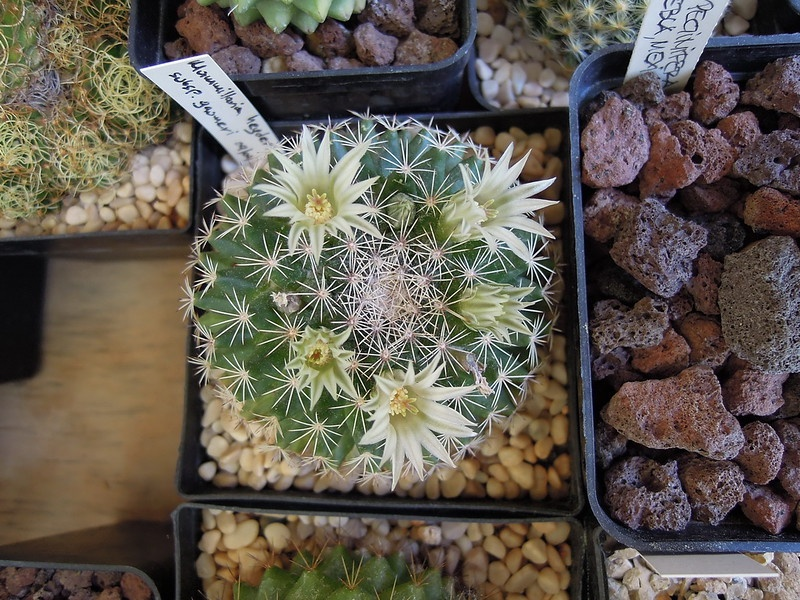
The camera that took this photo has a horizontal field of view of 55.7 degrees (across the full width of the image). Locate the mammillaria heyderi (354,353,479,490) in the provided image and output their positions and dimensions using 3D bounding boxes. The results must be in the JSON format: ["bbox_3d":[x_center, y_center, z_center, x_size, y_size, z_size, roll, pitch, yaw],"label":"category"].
[{"bbox_3d":[0.022,0.264,1.744,0.290,0.150,0.313,-8,106,-5],"label":"mammillaria heyderi"}]

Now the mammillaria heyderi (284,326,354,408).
[{"bbox_3d":[-0.185,0.152,1.759,0.157,0.092,0.182,-6,81,0],"label":"mammillaria heyderi"}]

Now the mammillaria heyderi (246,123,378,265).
[{"bbox_3d":[-0.194,-0.250,1.789,0.322,0.278,0.146,-15,78,-9],"label":"mammillaria heyderi"}]

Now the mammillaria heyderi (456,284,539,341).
[{"bbox_3d":[0.249,-0.013,1.840,0.144,0.088,0.159,16,101,-18],"label":"mammillaria heyderi"}]

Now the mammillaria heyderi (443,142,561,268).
[{"bbox_3d":[0.248,-0.217,1.818,0.252,0.203,0.246,40,84,7],"label":"mammillaria heyderi"}]

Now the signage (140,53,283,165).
[{"bbox_3d":[-0.517,-0.551,2.125,0.172,0.570,0.064,-22,65,7],"label":"signage"}]
